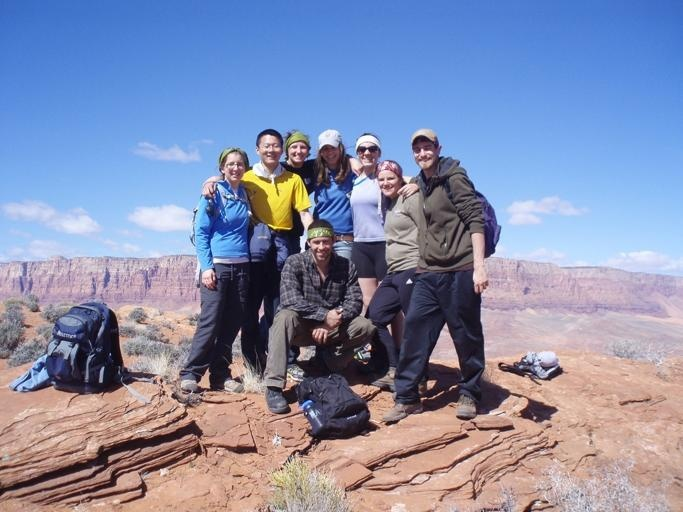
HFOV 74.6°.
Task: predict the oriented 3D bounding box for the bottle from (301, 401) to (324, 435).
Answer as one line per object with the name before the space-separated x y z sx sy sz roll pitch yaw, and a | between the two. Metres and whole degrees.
bottle | -0.328 1.892 5.293 0.187 0.165 0.295 34 10 -37

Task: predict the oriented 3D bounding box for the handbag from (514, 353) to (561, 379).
handbag | 3.662 2.009 8.358 0.866 0.455 0.674 0 -3 18

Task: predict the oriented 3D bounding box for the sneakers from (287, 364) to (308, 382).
sneakers | -0.623 1.656 6.396 0.148 0.143 0.313 1 3 -42

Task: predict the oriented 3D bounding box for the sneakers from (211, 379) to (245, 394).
sneakers | -1.531 1.761 6.068 0.398 0.174 0.171 -4 -14 12
